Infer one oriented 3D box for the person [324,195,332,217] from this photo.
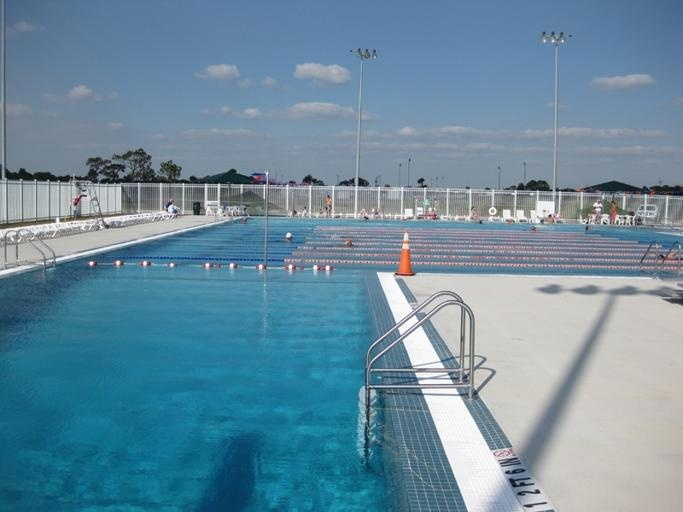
[{"bbox_3d":[-0.966,-3.571,43.009,0.432,1.548,0.584,2,-6,5],"label":"person"}]
